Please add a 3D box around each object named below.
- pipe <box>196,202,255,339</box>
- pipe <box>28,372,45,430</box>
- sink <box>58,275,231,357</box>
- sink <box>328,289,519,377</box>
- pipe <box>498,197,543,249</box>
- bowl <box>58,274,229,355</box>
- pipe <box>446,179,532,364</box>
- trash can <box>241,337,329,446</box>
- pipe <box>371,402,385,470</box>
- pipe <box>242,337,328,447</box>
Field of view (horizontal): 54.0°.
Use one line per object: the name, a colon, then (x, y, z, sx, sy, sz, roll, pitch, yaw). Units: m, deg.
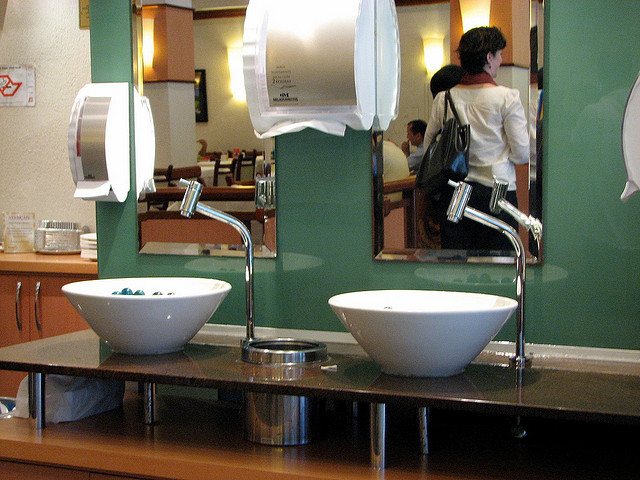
pipe: (-0.321, 0.102, 2.135, 0.234, 0.673, 0.091, 2, 45, -5)
pipe: (-0.853, 0.474, 1.900, 0.047, 0.193, 0.044, 1, 2, 13)
sink: (-0.557, 0.270, 2.050, 0.559, 0.244, 0.593, -1, -15, -14)
sink: (0.270, 0.251, 1.679, 0.310, 0.126, 0.323, -5, -5, 34)
pipe: (0.610, -0.057, 1.900, 0.168, 0.066, 0.045, 38, 20, -5)
bowl: (-0.552, 0.236, 2.060, 0.504, 0.226, 0.508, 0, 8, 0)
pipe: (0.496, 0.075, 1.836, 0.243, 0.488, 0.067, 5, 25, 22)
trash can: (-0.108, 0.445, 1.891, 0.262, 0.262, 0.226, 2, 8, 11)
pipe: (0.155, 0.519, 1.671, 0.043, 0.182, 0.044, 1, 1, 42)
pipe: (-0.081, 0.452, 1.930, 0.256, 0.305, 0.262, 0, 1, 1)
